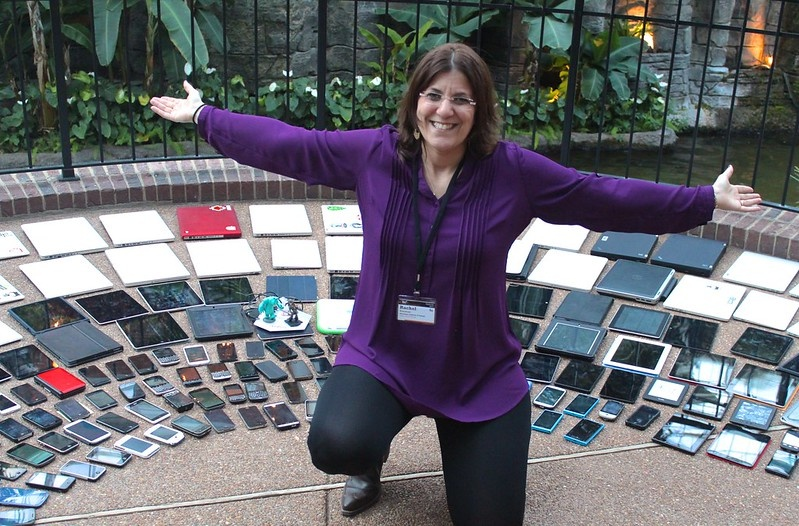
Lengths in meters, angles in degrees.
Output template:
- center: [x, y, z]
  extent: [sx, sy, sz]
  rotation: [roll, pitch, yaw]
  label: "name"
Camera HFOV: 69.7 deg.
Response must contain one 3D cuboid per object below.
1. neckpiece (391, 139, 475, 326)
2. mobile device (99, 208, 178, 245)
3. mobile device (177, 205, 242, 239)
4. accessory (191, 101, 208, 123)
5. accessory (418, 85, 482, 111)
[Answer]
- center: [0.097, -0.102, 2.355]
  extent: [0.220, 0.695, 0.047]
  rotation: [5, -6, 18]
  label: "neckpiece"
- center: [-2.052, -0.277, 4.487]
  extent: [0.393, 0.346, 0.364]
  rotation: [-3, 34, -19]
  label: "mobile device"
- center: [-1.538, -0.344, 4.632]
  extent: [0.371, 0.061, 0.365]
  rotation: [-3, 38, -16]
  label: "mobile device"
- center: [-0.892, -0.670, 2.552]
  extent: [0.023, 0.082, 0.090]
  rotation: [28, 23, 14]
  label: "accessory"
- center: [0.195, -0.644, 2.265]
  extent: [0.224, 0.070, 0.067]
  rotation: [1, 25, 5]
  label: "accessory"
